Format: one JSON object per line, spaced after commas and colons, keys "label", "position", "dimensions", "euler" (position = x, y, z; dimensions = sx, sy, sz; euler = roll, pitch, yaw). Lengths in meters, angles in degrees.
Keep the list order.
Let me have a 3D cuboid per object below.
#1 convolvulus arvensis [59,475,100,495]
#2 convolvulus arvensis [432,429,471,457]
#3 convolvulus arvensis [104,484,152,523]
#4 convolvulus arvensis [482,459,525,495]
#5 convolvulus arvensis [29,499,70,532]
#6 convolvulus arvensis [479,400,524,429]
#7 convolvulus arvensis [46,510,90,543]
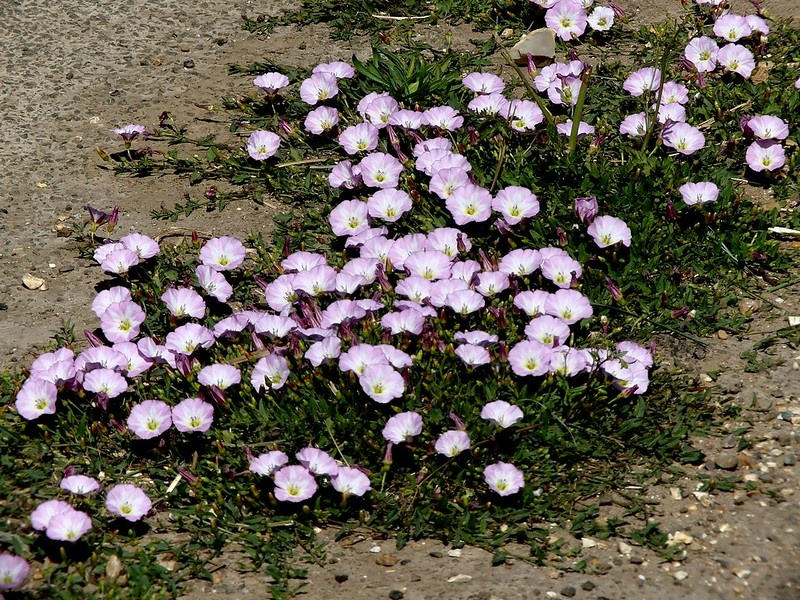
{"label": "convolvulus arvensis", "position": [-1.521, 0.873, 4.035], "dimensions": [0.124, 0.043, 0.112], "euler": [0, 27, -25]}
{"label": "convolvulus arvensis", "position": [0.256, 0.693, 4.050], "dimensions": [0.171, 0.156, 0.108], "euler": [-24, 60, -4]}
{"label": "convolvulus arvensis", "position": [-1.258, 0.950, 3.972], "dimensions": [0.192, 0.140, 0.142], "euler": [24, 67, 21]}
{"label": "convolvulus arvensis", "position": [0.501, 0.851, 4.008], "dimensions": [0.157, 0.173, 0.161], "euler": [-34, 61, -10]}
{"label": "convolvulus arvensis", "position": [-1.614, 0.978, 3.897], "dimensions": [0.159, 0.047, 0.147], "euler": [7, 54, 8]}
{"label": "convolvulus arvensis", "position": [0.489, 0.546, 4.035], "dimensions": [0.159, 0.075, 0.140], "euler": [-9, 45, -15]}
{"label": "convolvulus arvensis", "position": [-1.493, 1.044, 3.896], "dimensions": [0.159, 0.174, 0.142], "euler": [10, 63, 15]}
